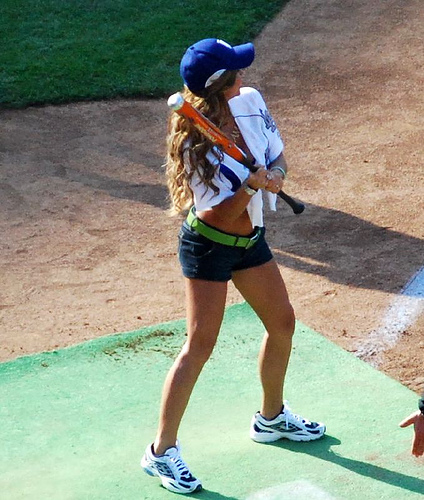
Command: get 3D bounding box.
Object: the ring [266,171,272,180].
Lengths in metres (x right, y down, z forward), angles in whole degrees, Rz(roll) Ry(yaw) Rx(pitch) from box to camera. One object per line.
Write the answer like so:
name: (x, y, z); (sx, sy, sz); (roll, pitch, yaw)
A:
ring: (0.236, -0.315, 2.673); (0.027, 0.027, 0.016); (-8, -1, -43)

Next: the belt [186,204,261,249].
belt: (0.041, -0.114, 2.688); (0.334, 0.058, 0.285); (-3, -11, 27)

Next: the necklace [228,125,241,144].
necklace: (0.102, -0.513, 2.848); (0.030, 0.062, 0.055); (12, -6, 2)
